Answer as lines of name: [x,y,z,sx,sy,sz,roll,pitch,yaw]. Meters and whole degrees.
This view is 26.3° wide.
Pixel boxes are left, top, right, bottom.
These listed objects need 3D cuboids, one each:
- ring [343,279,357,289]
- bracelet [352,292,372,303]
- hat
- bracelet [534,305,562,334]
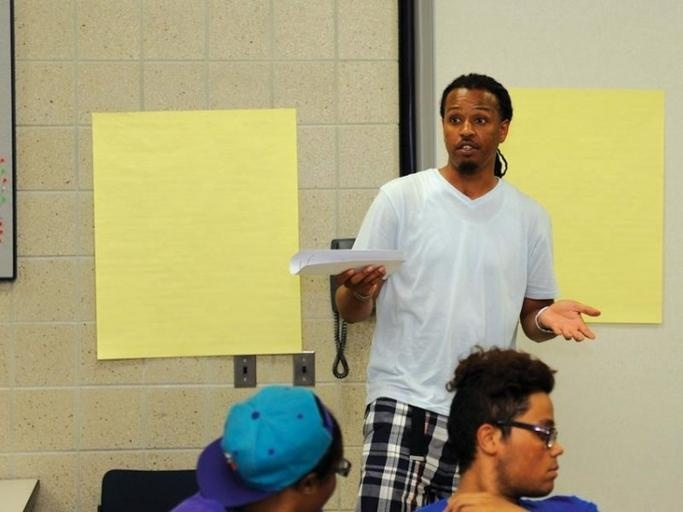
ring: [0.030,0.119,6.125,0.034,0.042,0.061,-1,4,-35]
bracelet: [0.087,0.177,6.203,0.080,0.043,0.062,1,3,-7]
hat: [-0.263,0.774,5.628,0.506,0.371,0.214,-31,-29,-9]
bracelet: [0.872,0.282,6.292,0.074,0.115,0.045,5,-12,-4]
